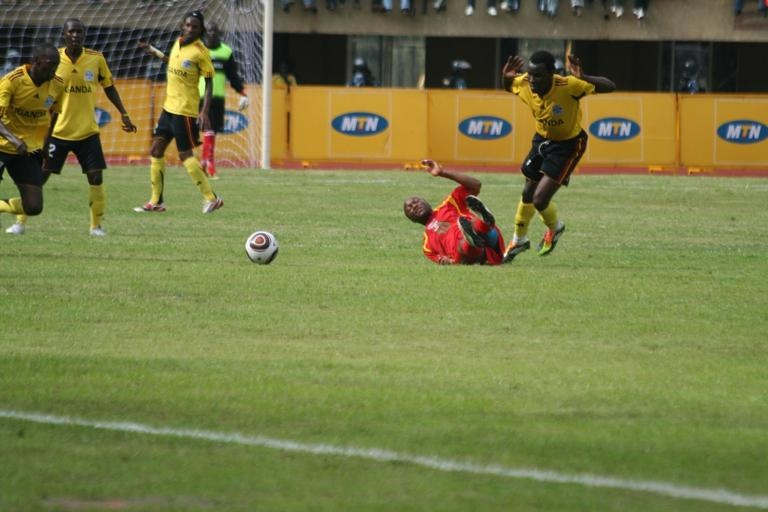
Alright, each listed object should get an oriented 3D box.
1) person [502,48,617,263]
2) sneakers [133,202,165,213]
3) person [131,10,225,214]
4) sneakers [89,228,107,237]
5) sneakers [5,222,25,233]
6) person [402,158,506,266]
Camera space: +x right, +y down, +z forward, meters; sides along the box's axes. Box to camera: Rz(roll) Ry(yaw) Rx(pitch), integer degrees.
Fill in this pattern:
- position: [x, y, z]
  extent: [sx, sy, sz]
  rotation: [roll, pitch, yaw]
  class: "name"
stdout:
- position: [1.858, -1.109, 14.303]
  extent: [1.061, 2.283, 0.651]
  rotation: [-1, 9, 3]
  class: "person"
- position: [-3.124, -0.642, 17.129]
  extent: [0.438, 0.152, 0.146]
  rotation: [3, 2, -8]
  class: "sneakers"
- position: [-2.662, -1.828, 16.771]
  extent: [0.940, 2.615, 0.653]
  rotation: [-3, 9, -7]
  class: "person"
- position: [-3.376, -0.270, 15.080]
  extent: [0.150, 0.088, 0.145]
  rotation: [-7, -17, 21]
  class: "sneakers"
- position: [-4.310, -0.319, 15.018]
  extent: [0.108, 0.094, 0.205]
  rotation: [36, 4, 4]
  class: "sneakers"
- position: [0.748, -0.450, 13.747]
  extent: [1.018, 1.162, 0.941]
  rotation: [-1, 10, 3]
  class: "person"
